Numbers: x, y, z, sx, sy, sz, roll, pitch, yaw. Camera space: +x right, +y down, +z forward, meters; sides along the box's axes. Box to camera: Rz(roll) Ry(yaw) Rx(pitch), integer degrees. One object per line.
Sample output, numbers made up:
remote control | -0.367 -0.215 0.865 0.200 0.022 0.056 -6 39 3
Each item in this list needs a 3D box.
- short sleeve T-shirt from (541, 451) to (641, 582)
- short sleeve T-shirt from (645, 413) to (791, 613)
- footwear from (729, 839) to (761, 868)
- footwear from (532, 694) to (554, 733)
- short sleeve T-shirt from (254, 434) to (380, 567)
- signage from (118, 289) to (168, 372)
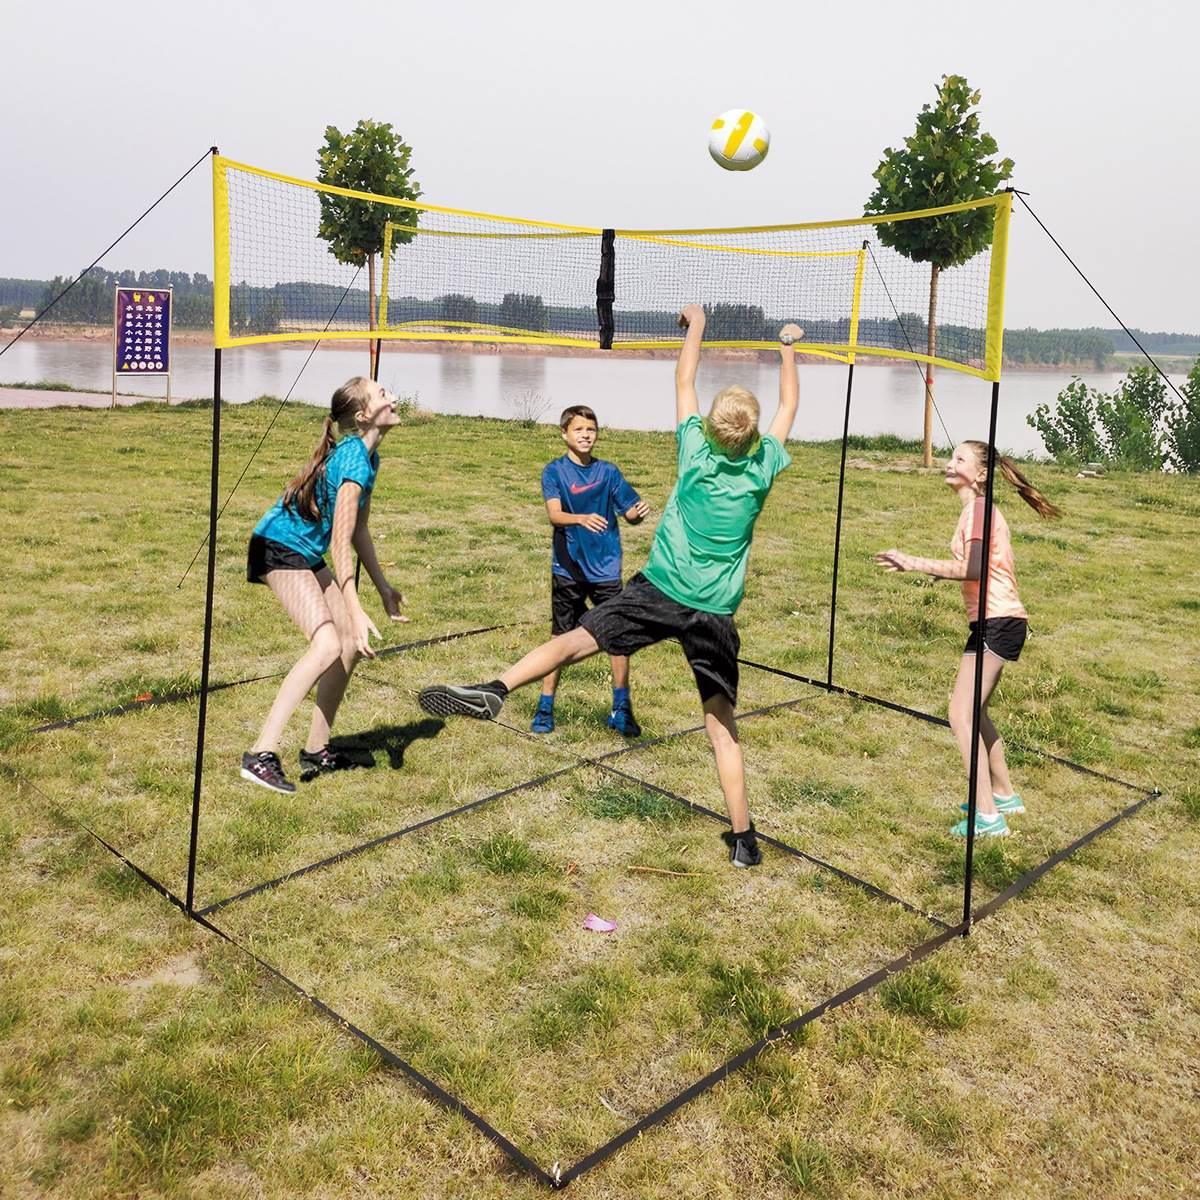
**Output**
short sleeve T-shirt | -0.053 -0.373 6.090 0.480 0.747 0.318 3 -19 -19
short sleeve T-shirt | 0.442 -0.317 4.642 0.481 0.696 0.259 5 12 9
footwear | 0.572 0.991 4.802 0.059 0.100 0.199 2 5 17
footwear | -0.288 0.593 6.169 0.077 0.142 0.208 1 2 -1
short sleeve T-shirt | -1.185 -0.413 5.171 0.483 0.587 0.357 6 13 16
signage | -6.941 -4.108 18.398 0.090 1.398 0.913 18 22 30
